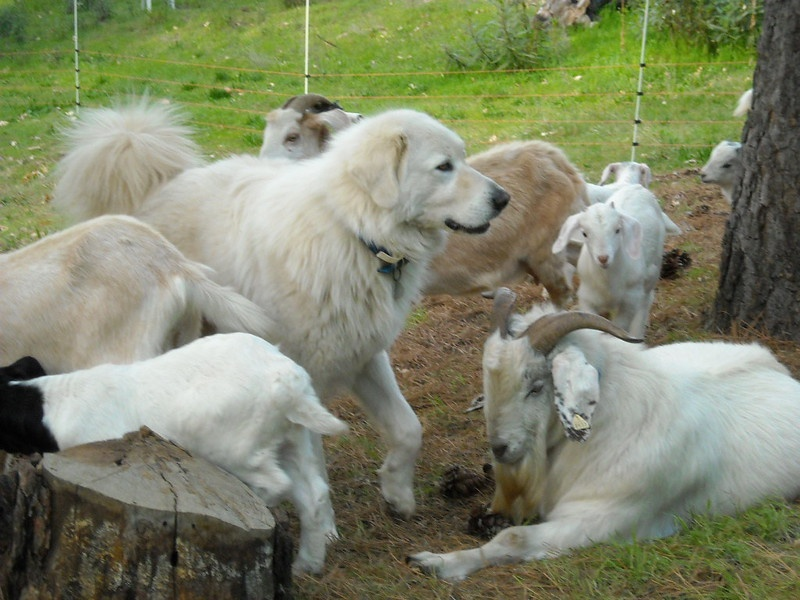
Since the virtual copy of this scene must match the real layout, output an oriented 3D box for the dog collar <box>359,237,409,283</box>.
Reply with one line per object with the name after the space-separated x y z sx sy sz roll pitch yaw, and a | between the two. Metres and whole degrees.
-0.080 -0.243 6.806 0.304 0.148 0.224 40 15 6 | dog collar
